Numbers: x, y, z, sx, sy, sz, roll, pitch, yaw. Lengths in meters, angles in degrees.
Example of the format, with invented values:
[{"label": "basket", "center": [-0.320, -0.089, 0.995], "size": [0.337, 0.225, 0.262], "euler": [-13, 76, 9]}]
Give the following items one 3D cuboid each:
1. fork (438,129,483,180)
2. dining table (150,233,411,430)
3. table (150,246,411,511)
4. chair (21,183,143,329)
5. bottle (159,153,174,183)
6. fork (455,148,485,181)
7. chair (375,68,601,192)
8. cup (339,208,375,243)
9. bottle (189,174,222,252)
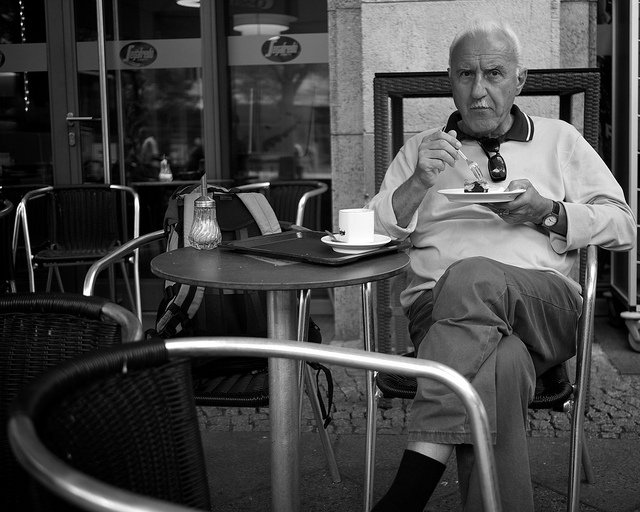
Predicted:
[{"label": "fork", "center": [0.545, -0.382, 2.640], "size": [0.033, 0.249, 0.028], "euler": [-40, 7, -21]}, {"label": "dining table", "center": [-0.126, 0.306, 2.280], "size": [0.704, 0.736, 0.713], "euler": [7, 18, 24]}, {"label": "table", "center": [-0.138, 0.417, 2.223], "size": [0.794, 0.874, 0.787], "euler": [-4, 8, -22]}, {"label": "chair", "center": [-1.585, -0.006, 4.572], "size": [0.817, 0.941, 0.836], "euler": [1, 7, 24]}, {"label": "bottle", "center": [-1.203, -0.688, 5.342], "size": [0.106, 0.223, 0.026], "euler": [3, 9, 15]}, {"label": "fork", "center": [0.595, -0.355, 2.707], "size": [0.024, 0.175, 0.021], "euler": [-41, 9, -5]}, {"label": "chair", "center": [0.813, -0.374, 3.480], "size": [0.945, 0.920, 0.710], "euler": [-1, -8, 7]}, {"label": "cup", "center": [0.130, -0.100, 2.218], "size": [0.107, 0.080, 0.104], "euler": [-1, 9, 0]}, {"label": "bottle", "center": [-0.397, -0.153, 2.367], "size": [0.120, 0.258, 0.112], "euler": [1, 16, 0]}]
